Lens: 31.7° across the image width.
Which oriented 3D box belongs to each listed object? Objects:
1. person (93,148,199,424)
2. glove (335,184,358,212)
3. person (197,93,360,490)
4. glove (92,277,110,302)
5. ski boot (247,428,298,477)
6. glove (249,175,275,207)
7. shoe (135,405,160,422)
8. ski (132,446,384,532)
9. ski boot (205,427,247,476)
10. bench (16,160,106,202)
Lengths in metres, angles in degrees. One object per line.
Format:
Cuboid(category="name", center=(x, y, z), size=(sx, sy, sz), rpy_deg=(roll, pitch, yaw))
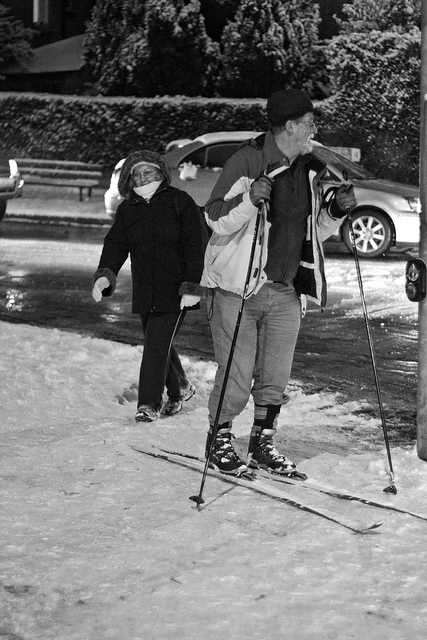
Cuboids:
Cuboid(category="person", center=(-0.419, -0.223, 4.911), size=(0.622, 1.716, 0.721), rpy_deg=(2, 6, 0))
Cuboid(category="glove", center=(0.610, -0.563, 3.463), size=(0.084, 0.114, 0.041), rpy_deg=(-5, 20, -3))
Cuboid(category="person", center=(0.240, -0.127, 3.571), size=(0.786, 1.846, 0.666), rpy_deg=(-4, 9, -44))
Cuboid(category="glove", center=(-0.691, -0.182, 4.596), size=(0.045, 0.141, 0.086), rpy_deg=(8, -36, -6))
Cuboid(category="ski boot", center=(0.291, 0.663, 3.840), size=(0.110, 0.225, 0.331), rpy_deg=(5, 1, -41))
Cuboid(category="glove", center=(0.189, -0.532, 3.098), size=(0.086, 0.111, 0.040), rpy_deg=(11, 17, -45))
Cuboid(category="shoe", center=(-0.422, 0.587, 4.762), size=(0.152, 0.090, 0.131), rpy_deg=(1, 6, -12))
Cuboid(category="ski", center=(0.183, 0.776, 3.422), size=(0.096, 0.103, 0.907), rpy_deg=(8, 5, -44))
Cuboid(category="ski boot", center=(0.050, 0.640, 3.731), size=(0.098, 0.207, 0.292), rpy_deg=(2, 9, -32))
Cuboid(category="bench", center=(-4.446, -4.186, 22.508), size=(1.715, 1.307, 3.584), rpy_deg=(-2, 7, -37))
